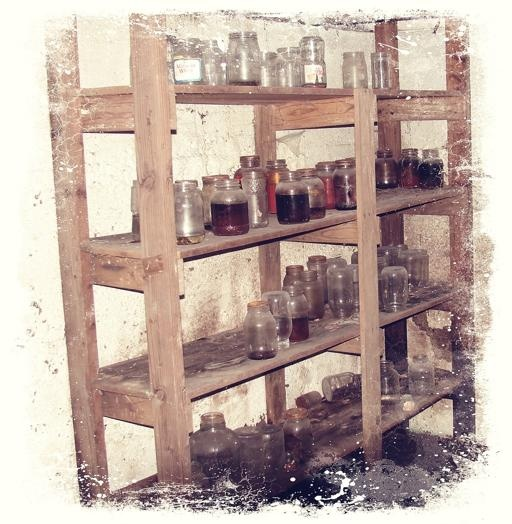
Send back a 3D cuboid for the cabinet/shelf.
[{"bbox_3d":[0.236,0.085,2.103,0.520,1.519,1.835,2,7,41],"label":"cabinet/shelf"}]
